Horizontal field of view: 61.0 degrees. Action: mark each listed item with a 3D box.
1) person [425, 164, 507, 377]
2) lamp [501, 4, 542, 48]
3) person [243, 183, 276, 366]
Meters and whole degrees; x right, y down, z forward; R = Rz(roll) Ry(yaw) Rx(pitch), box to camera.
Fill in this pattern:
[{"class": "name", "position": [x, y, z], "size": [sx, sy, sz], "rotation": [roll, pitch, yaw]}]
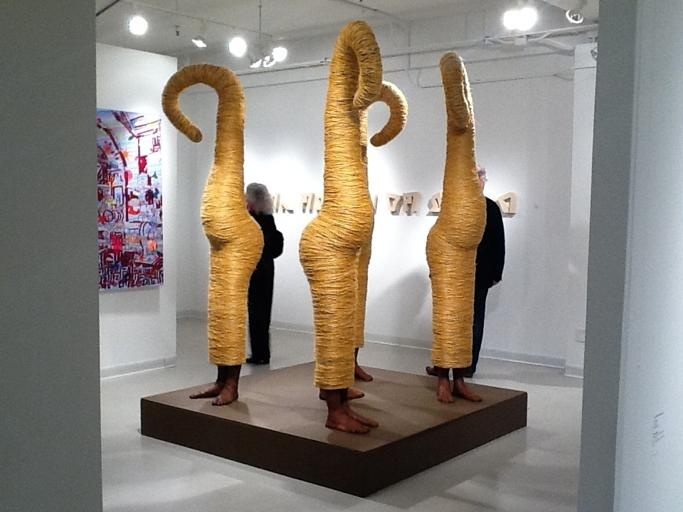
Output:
[{"class": "person", "position": [1.426, 0.180, 5.763], "size": [0.357, 2.093, 1.493], "rotation": [1, 3, 15]}, {"class": "lamp", "position": [1.945, -2.454, 6.203], "size": [0.476, 0.480, 0.326], "rotation": [4, 12, 36]}, {"class": "person", "position": [-0.822, 0.231, 6.125], "size": [0.359, 1.948, 0.796], "rotation": [0, 3, -8]}]
